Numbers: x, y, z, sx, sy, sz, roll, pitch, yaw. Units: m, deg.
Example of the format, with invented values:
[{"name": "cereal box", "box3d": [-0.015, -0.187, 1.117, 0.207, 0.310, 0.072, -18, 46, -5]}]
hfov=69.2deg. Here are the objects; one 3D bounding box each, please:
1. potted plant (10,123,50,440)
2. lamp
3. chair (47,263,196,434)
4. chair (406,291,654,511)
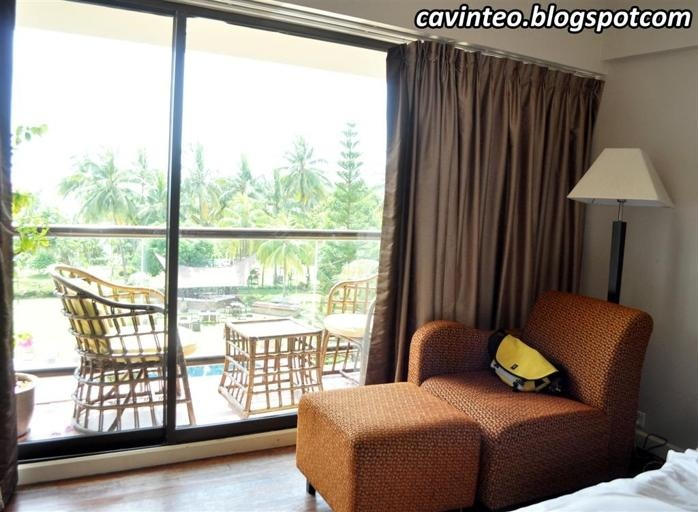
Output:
[{"name": "potted plant", "box3d": [-1.605, 0.142, 2.562, 0.214, 1.592, 0.082, -2, 7, -16]}, {"name": "lamp", "box3d": [1.629, -0.186, 3.054, 0.526, 0.901, 0.457, 5, 8, 32]}, {"name": "chair", "box3d": [-1.281, 0.512, 2.949, 0.708, 0.871, 0.656, 0, 4, -19]}, {"name": "chair", "box3d": [0.967, 0.706, 3.028, 1.192, 1.157, 1.049, -1, 7, -22]}]
